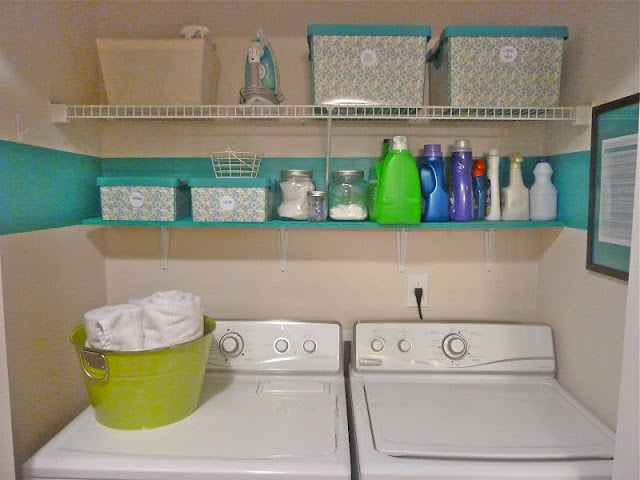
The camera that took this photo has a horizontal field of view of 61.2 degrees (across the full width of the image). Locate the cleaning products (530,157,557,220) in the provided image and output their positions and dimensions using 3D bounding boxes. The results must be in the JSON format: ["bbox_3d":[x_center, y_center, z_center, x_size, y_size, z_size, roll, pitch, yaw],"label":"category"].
[{"bbox_3d":[0.919,-0.206,2.224,0.099,0.246,0.080,5,9,35],"label":"cleaning products"}]

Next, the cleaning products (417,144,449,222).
[{"bbox_3d":[0.463,-0.227,2.192,0.112,0.308,0.084,1,8,10],"label":"cleaning products"}]

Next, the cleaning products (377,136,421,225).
[{"bbox_3d":[0.309,-0.230,2.127,0.167,0.349,0.074,0,8,5],"label":"cleaning products"}]

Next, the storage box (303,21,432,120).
[{"bbox_3d":[0.185,-0.675,2.226,0.471,0.297,0.304,0,0,-3],"label":"storage box"}]

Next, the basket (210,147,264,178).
[{"bbox_3d":[-0.364,-0.313,2.292,0.172,0.086,0.143,1,-1,1],"label":"basket"}]

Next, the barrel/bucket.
[{"bbox_3d":[-0.638,0.468,1.928,0.374,0.238,0.394,0,-1,0],"label":"barrel/bucket"}]

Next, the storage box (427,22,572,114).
[{"bbox_3d":[0.711,-0.659,2.096,0.417,0.224,0.334,0,3,-2],"label":"storage box"}]

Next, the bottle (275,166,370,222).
[{"bbox_3d":[0.012,-0.182,2.225,0.364,0.209,0.131,-1,7,-3],"label":"bottle"}]

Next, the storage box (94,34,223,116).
[{"bbox_3d":[-0.637,-0.663,2.142,0.290,0.191,0.361,0,6,3],"label":"storage box"}]

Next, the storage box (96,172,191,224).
[{"bbox_3d":[-0.780,-0.084,2.326,0.318,0.198,0.406,1,-24,-23],"label":"storage box"}]

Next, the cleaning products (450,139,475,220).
[{"bbox_3d":[0.585,-0.242,2.225,0.103,0.328,0.090,-1,7,1],"label":"cleaning products"}]
